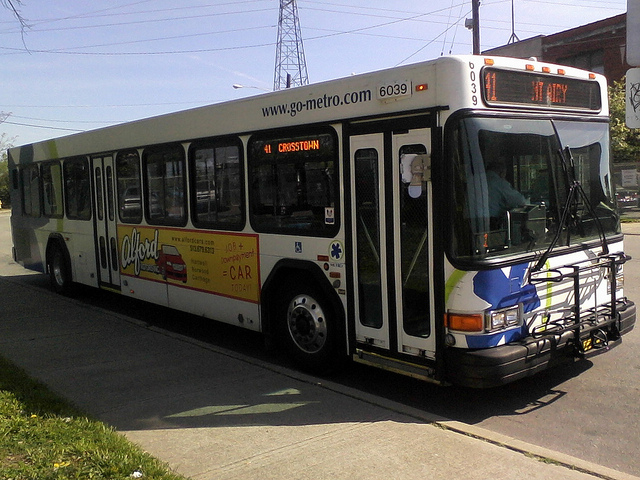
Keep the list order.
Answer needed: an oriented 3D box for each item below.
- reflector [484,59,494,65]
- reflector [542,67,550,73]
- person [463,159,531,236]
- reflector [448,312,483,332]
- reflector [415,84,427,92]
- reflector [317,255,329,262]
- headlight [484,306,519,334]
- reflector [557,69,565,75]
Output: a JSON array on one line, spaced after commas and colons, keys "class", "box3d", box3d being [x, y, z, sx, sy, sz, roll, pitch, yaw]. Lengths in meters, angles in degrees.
[{"class": "reflector", "box3d": [1.765, -1.852, 5.977, 0.144, 0.055, 0.011, -7, 6, -36]}, {"class": "reflector", "box3d": [2.532, -1.899, 6.415, 0.132, 0.053, 0.022, -8, 6, -43]}, {"class": "person", "box3d": [1.804, -0.427, 5.939, 0.458, 1.088, 0.379, 15, 15, 36]}, {"class": "reflector", "box3d": [1.481, 0.834, 5.868, 0.222, 0.116, 0.184, -1, 3, -5]}, {"class": "reflector", "box3d": [1.069, -1.599, 6.029, 0.129, 0.068, 0.010, 0, 5, 39]}, {"class": "reflector", "box3d": [0.039, 0.224, 7.071, 0.184, 0.084, 0.004, 1, 5, 41]}, {"class": "headlight", "box3d": [1.881, 0.808, 5.915, 0.466, 0.229, 0.053, -6, 5, -31]}, {"class": "reflector", "box3d": [2.766, -1.924, 6.575, 0.148, 0.058, 0.010, -7, 6, -39]}]
